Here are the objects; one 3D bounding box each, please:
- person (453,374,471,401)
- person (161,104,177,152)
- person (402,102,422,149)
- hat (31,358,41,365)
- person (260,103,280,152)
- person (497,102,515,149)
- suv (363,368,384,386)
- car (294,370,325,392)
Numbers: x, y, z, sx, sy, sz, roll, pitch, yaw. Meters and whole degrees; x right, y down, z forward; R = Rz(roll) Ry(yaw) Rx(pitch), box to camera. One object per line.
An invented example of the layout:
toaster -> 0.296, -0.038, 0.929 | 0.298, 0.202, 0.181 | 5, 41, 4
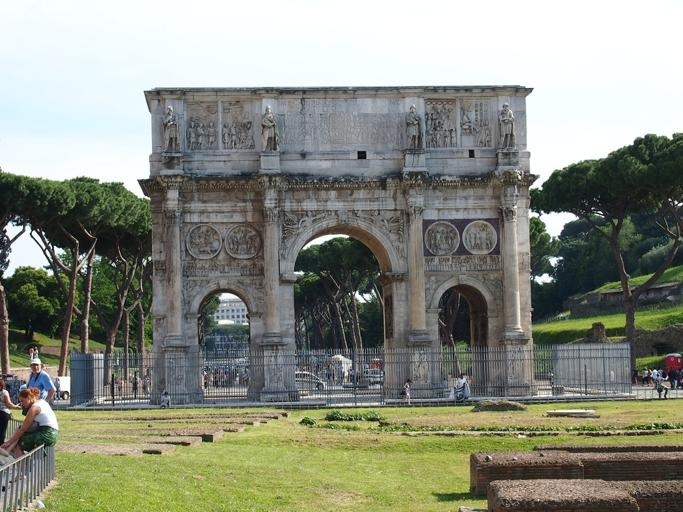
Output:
person -> 5.639, 6.196, 60.071 | 0.707, 1.333, 1.173 | -1, -8, 2
person -> -8.404, -6.098, 62.147 | 0.685, 2.296, 0.549 | 1, -8, -10
person -> 3.528, -6.322, 62.880 | 0.800, 2.431, 0.580 | -1, -8, 1
hat -> -10.259, 3.537, 42.613 | 0.338, 0.188, 0.506 | 1, -9, 1
person -> -3.542, -6.251, 62.308 | 0.781, 2.410, 0.675 | 0, -8, -4
person -> 8.162, -6.448, 63.243 | 0.745, 2.416, 0.666 | -1, -8, 0
suv -> 1.535, 5.922, 62.748 | 0.913, 0.800, 2.272 | -1, -9, 1
car -> -1.621, 6.103, 62.478 | 1.691, 0.855, 0.988 | -3, -3, 17
